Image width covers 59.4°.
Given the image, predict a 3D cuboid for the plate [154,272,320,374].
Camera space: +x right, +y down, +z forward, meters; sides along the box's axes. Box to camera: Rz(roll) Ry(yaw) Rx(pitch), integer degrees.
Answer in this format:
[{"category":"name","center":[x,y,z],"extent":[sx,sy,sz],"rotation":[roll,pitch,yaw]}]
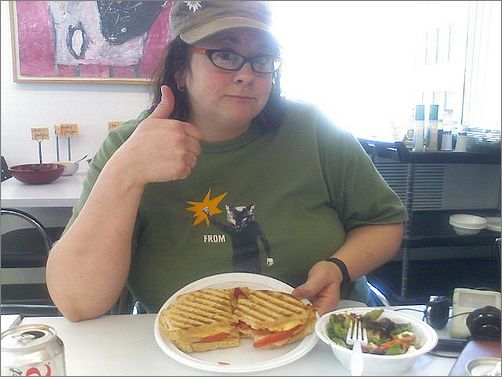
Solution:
[{"category":"plate","center":[-0.056,0.325,1.231],"extent":[0.389,0.182,0.366],"rotation":[-5,8,-32]}]

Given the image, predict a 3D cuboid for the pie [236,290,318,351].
[{"category":"pie","center":[0.050,0.333,1.221],"extent":[0.208,0.125,0.190],"rotation":[-2,9,-14]}]

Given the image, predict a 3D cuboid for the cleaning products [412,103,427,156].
[{"category":"cleaning products","center":[1.044,-0.384,2.703],"extent":[0.090,0.297,0.086],"rotation":[0,11,16]}]

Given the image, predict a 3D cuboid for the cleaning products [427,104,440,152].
[{"category":"cleaning products","center":[1.136,-0.379,2.705],"extent":[0.070,0.264,0.067],"rotation":[4,14,27]}]

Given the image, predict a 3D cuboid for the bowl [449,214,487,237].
[{"category":"bowl","center":[1.378,0.206,2.808],"extent":[0.165,0.070,0.156],"rotation":[-1,18,0]}]

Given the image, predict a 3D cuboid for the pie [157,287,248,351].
[{"category":"pie","center":[-0.136,0.351,1.182],"extent":[0.212,0.126,0.187],"rotation":[1,5,-9]}]

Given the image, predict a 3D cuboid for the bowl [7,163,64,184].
[{"category":"bowl","center":[-1.362,-0.115,2.836],"extent":[0.369,0.130,0.392],"rotation":[3,8,0]}]
